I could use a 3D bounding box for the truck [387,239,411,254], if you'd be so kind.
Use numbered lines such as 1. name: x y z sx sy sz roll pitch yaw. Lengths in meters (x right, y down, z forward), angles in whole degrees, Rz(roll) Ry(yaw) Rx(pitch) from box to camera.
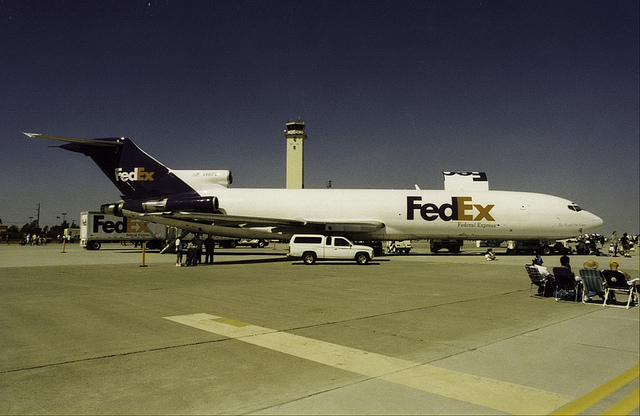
1. truck: 6.979 3.290 46.137 1.628 1.266 2.362 1 3 -2

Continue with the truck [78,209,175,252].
1. truck: -16.513 2.028 47.378 8.012 3.202 2.468 0 -2 15

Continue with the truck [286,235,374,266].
1. truck: 0.400 2.461 31.804 5.359 1.645 2.131 2 0 -20
